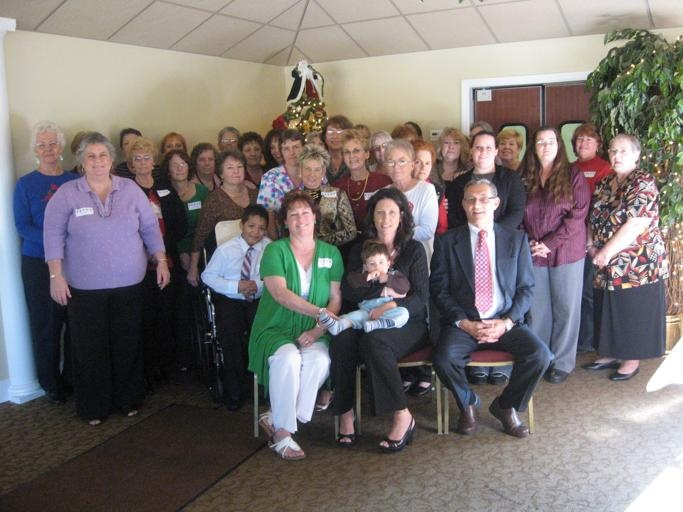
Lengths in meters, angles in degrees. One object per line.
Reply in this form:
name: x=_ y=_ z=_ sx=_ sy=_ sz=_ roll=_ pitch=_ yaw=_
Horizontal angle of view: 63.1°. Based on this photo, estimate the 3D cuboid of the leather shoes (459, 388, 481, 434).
leather shoes: x=0.910 y=1.111 z=3.963 sx=0.117 sy=0.317 sz=0.129 roll=-1 pitch=-32 yaw=37

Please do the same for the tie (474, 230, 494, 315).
tie: x=1.030 y=0.115 z=4.027 sx=0.126 sy=0.602 sz=0.161 roll=-2 pitch=11 yaw=15

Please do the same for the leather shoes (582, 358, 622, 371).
leather shoes: x=2.313 y=0.964 z=4.920 sx=0.338 sy=0.127 sz=0.121 roll=-1 pitch=2 yaw=-4

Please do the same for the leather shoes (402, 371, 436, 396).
leather shoes: x=0.632 y=1.034 z=4.611 sx=0.196 sy=0.100 sz=0.283 roll=2 pitch=12 yaw=25

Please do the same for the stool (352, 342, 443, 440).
stool: x=0.442 y=0.945 z=4.149 sx=0.636 sy=0.581 sz=0.534 roll=-4 pitch=0 yaw=14

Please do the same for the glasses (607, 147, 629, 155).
glasses: x=2.274 y=-0.871 z=4.558 sx=0.111 sy=0.035 sz=0.116 roll=1 pitch=-9 yaw=37

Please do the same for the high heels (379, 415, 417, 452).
high heels: x=0.412 y=1.231 z=3.841 sx=0.125 sy=0.142 sz=0.332 roll=-2 pitch=-2 yaw=35

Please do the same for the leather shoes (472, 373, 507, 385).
leather shoes: x=1.247 y=1.030 z=4.680 sx=0.226 sy=0.086 sz=0.119 roll=-1 pitch=5 yaw=-9

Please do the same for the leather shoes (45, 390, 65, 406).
leather shoes: x=-2.414 y=1.175 z=4.663 sx=0.199 sy=0.083 sz=0.073 roll=14 pitch=6 yaw=29

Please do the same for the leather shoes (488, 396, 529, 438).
leather shoes: x=1.168 y=1.120 z=3.977 sx=0.140 sy=0.146 sz=0.342 roll=-19 pitch=36 yaw=-32

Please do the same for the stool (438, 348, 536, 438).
stool: x=1.092 y=0.944 z=4.069 sx=0.461 sy=0.525 sz=0.578 roll=0 pitch=-1 yaw=8

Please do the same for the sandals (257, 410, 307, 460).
sandals: x=-0.425 y=1.245 z=3.843 sx=0.179 sy=0.113 sz=0.421 roll=-18 pitch=29 yaw=-29

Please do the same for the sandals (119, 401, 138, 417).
sandals: x=-1.674 y=1.196 z=4.400 sx=0.123 sy=0.053 sz=0.122 roll=2 pitch=1 yaw=10

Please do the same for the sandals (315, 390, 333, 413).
sandals: x=-0.097 y=1.052 z=4.108 sx=0.087 sy=0.099 sz=0.254 roll=0 pitch=-4 yaw=20
